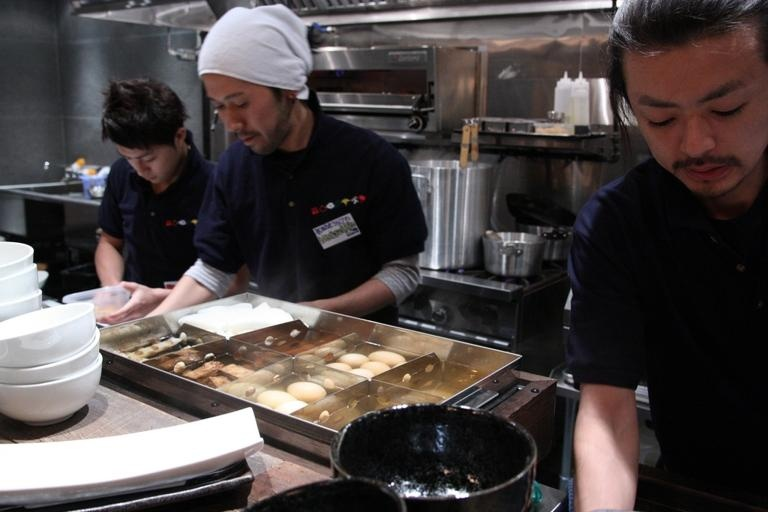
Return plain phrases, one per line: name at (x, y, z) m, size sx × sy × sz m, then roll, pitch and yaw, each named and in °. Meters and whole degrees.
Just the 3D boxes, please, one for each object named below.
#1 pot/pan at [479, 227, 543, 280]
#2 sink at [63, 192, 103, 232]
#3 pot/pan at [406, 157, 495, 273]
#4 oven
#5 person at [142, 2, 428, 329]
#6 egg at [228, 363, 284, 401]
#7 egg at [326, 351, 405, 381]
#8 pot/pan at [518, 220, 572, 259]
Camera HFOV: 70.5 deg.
pot/pan at (0.736, -0.011, 3.074) m, size 0.275 × 0.194 × 0.330 m, roll -1°, pitch 5°, yaw -4°
sink at (-2.778, -0.419, 5.001) m, size 0.441 × 0.264 × 0.241 m, roll 20°, pitch 25°, yaw 40°
pot/pan at (0.458, -0.289, 3.390) m, size 0.609 × 0.599 × 0.666 m, roll 5°, pitch 13°, yaw 24°
oven at (0.015, -1.147, 3.794) m, size 1.117 × 0.520 × 0.726 m, roll 12°, pitch 25°, yaw 35°
person at (-0.359, -0.368, 2.120) m, size 1.023 × 1.172 × 0.442 m, roll 2°, pitch 12°, yaw 8°
egg at (-0.366, 0.363, 1.541) m, size 0.054 × 0.035 × 0.111 m, roll 27°, pitch 19°, yaw 24°
egg at (-0.054, 0.323, 1.609) m, size 0.153 × 0.061 × 0.088 m, roll 2°, pitch -3°, yaw -1°
pot/pan at (0.990, -0.097, 3.460) m, size 0.333 × 0.212 × 0.262 m, roll 3°, pitch 4°, yaw 3°
